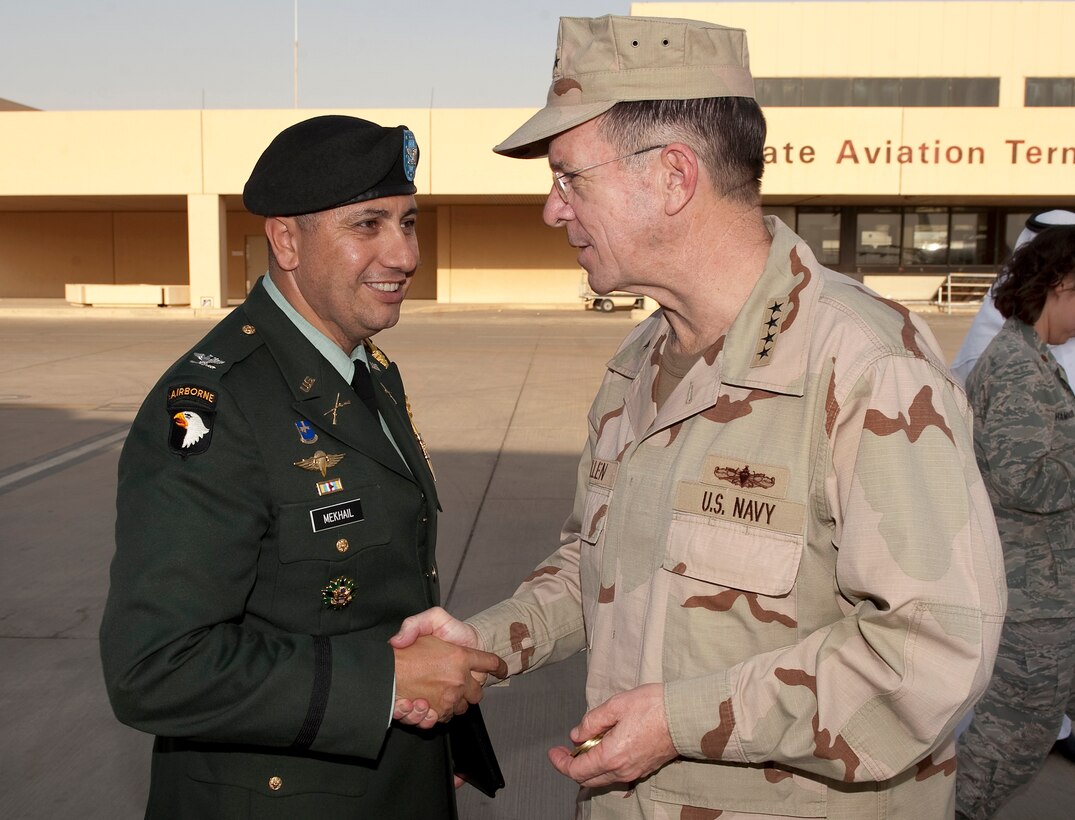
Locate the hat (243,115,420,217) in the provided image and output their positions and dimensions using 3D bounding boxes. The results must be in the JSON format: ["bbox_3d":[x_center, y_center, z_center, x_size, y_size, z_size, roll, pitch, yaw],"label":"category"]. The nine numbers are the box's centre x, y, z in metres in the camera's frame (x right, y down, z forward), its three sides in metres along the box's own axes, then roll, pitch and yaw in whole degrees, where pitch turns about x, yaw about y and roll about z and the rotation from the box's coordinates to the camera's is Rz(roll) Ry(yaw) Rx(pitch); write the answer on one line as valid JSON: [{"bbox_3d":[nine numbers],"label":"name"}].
[{"bbox_3d":[-0.575,-0.702,2.717,0.494,0.206,0.507,-3,26,4],"label":"hat"}]

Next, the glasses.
[{"bbox_3d":[0.164,-0.604,2.493,0.206,0.057,0.158,-23,4,16],"label":"glasses"}]

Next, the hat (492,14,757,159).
[{"bbox_3d":[0.249,-0.869,2.603,0.655,0.307,0.489,1,17,18],"label":"hat"}]
